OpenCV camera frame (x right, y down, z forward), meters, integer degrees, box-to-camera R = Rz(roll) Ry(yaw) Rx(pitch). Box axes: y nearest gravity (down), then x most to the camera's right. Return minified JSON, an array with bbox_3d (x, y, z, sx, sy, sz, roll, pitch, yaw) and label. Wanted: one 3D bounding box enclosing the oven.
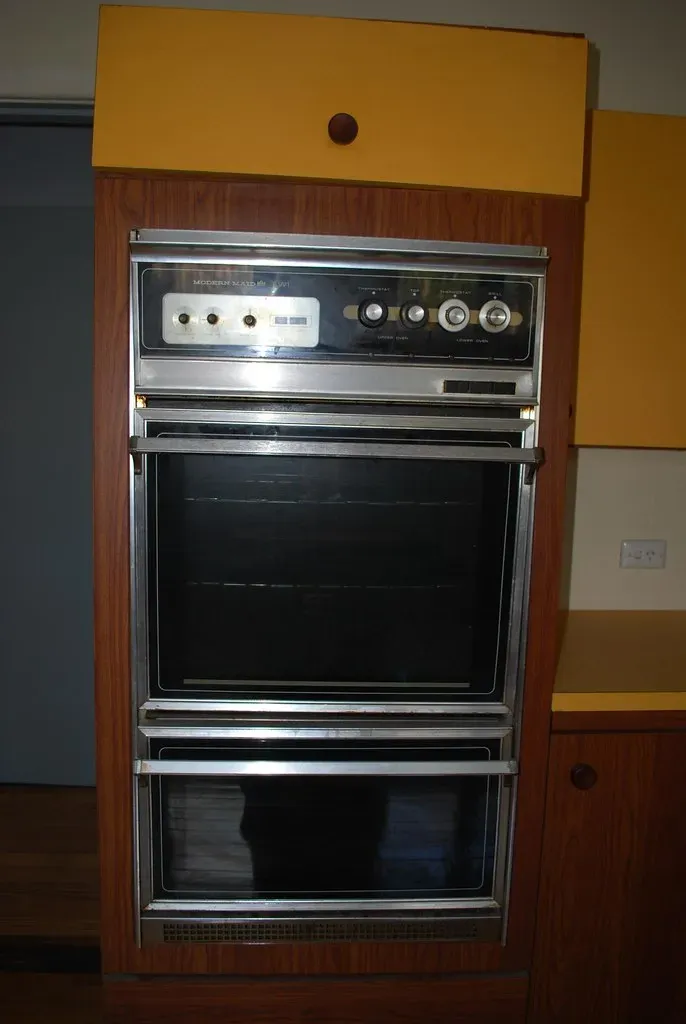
[{"bbox_3d":[-0.027,0.283,2.048,0.904,1.247,0.898,1,1,-2],"label":"oven"}]
